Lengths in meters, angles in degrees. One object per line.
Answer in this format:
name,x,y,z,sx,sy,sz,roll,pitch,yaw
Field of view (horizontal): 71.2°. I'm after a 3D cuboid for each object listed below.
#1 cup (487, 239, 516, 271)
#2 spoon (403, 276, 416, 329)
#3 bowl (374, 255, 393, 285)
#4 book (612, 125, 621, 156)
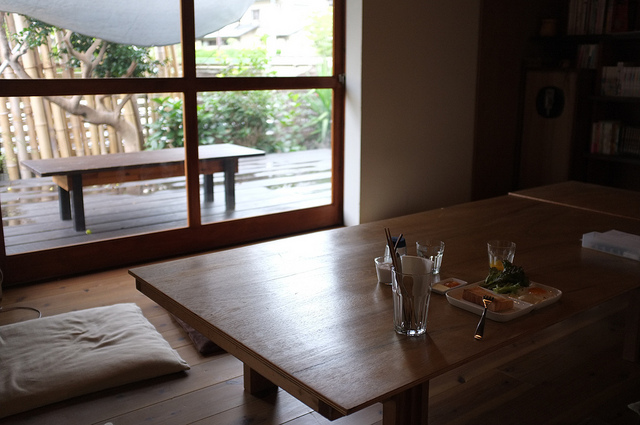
cup,0.684,0.150,1.681,0.108,0.111,0.111,-1,10,0
spoon,0.261,0.263,1.305,0.027,0.164,0.023,-4,19,7
bowl,0.248,0.210,1.643,0.080,0.078,0.078,-20,-3,-1
book,2.931,-0.708,4.407,0.058,0.224,0.235,7,5,27
